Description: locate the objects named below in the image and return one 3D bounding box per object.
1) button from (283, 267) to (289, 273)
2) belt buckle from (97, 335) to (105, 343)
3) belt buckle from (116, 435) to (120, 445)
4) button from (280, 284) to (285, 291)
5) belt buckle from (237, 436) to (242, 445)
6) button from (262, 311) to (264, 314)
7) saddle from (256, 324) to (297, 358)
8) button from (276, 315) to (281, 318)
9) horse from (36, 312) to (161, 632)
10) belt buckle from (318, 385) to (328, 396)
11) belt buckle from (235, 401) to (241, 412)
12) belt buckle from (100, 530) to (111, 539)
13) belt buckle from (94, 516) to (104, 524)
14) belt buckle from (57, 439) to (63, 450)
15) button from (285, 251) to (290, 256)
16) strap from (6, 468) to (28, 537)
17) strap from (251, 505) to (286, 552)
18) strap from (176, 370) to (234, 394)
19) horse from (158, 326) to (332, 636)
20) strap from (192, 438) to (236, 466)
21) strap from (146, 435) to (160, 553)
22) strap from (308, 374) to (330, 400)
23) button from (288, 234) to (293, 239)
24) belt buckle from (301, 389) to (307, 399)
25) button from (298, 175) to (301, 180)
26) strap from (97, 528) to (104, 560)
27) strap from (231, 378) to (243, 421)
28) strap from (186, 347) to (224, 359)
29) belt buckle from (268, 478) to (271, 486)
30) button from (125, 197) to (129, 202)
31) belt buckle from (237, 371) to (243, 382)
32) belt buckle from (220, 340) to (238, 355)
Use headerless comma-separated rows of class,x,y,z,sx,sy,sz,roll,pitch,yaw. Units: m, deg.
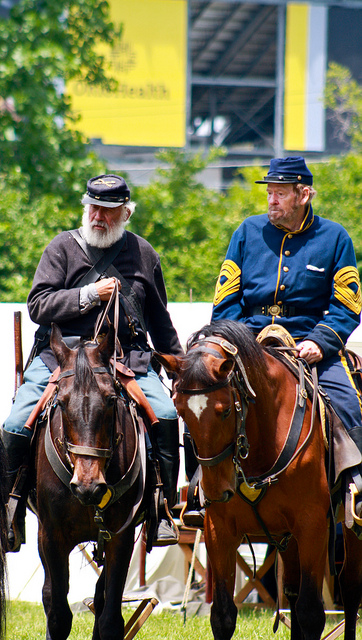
button,0.915,-0.427,13.590,0.042,0.046,0.011,-1,-6,6
belt buckle,-0.682,0.168,13.063,0.048,0.049,0.050,-1,-11,-12
belt buckle,-0.529,1.011,12.922,0.014,0.073,0.055,9,3,-22
button,0.879,-0.269,13.540,0.039,0.044,0.015,2,4,8
belt buckle,0.456,0.965,12.293,0.009,0.062,0.047,3,5,32
button,0.718,-0.052,13.634,0.013,0.022,0.004,3,5,26
saddle,0.821,0.150,13.329,0.343,0.184,0.227,1,5,2
button,0.848,-0.015,13.573,0.017,0.024,0.006,-9,-7,-1
horse,-0.771,1.357,13.019,0.894,2.736,1.173,4,5,32
belt buckle,1.197,0.614,13.178,0.034,0.028,0.119,-22,36,-1
belt buckle,0.447,0.699,12.328,0.054,0.080,0.022,0,-2,-25
belt buckle,-0.630,1.801,12.956,0.047,0.073,0.024,-5,13,18
belt buckle,-0.683,1.663,12.833,0.051,0.077,0.035,-3,7,-2
belt buckle,-1.016,1.036,12.860,0.031,0.088,0.058,-16,16,-33
button,0.931,-0.571,13.656,0.041,0.039,0.016,-1,5,-19
strap,-1.403,1.535,13.036,0.087,0.077,0.623,21,41,-4
strap,0.733,1.764,12.946,0.248,0.411,0.434,1,7,33
strap,0.200,0.511,12.262,0.482,0.154,0.215,0,5,-11
horse,0.594,1.349,12.667,1.476,2.557,0.751,-2,5,-32
strap,0.256,1.048,12.199,0.338,0.205,0.173,1,4,2
strap,-0.242,1.535,13.334,0.106,0.990,0.202,1,4,-2
strap,1.155,0.590,13.180,0.053,0.230,0.139,-25,-14,7
button,0.961,-0.724,13.737,0.033,0.039,0.010,1,4,7
belt buckle,1.022,0.631,12.947,0.009,0.070,0.066,-30,-36,24
button,1.033,-1.236,13.625,0.038,0.040,0.009,0,0,-21
strap,-0.681,1.918,13.080,0.048,0.197,0.135,1,-6,-9
strap,0.439,0.654,12.358,0.036,0.343,0.048,-19,-12,13
strap,0.194,0.273,12.373,0.270,0.079,0.091,1,5,0
belt buckle,0.725,1.332,12.696,0.011,0.056,0.030,1,4,5
button,-0.483,-1.057,13.726,0.035,0.039,0.013,2,4,-15
belt buckle,0.467,0.464,12.466,0.055,0.085,0.029,-1,-1,-12
belt buckle,0.377,0.238,12.418,0.022,0.137,0.081,-52,-4,38
